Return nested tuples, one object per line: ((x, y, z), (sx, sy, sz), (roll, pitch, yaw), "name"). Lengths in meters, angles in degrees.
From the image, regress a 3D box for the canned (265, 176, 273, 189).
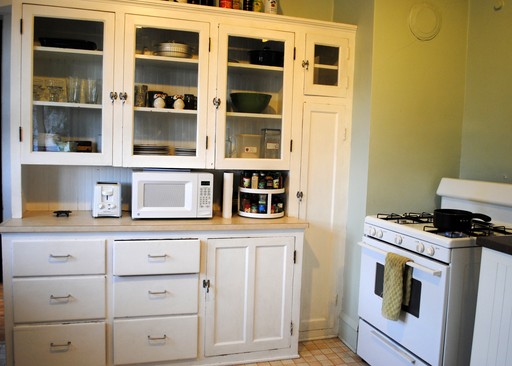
((0.114, -0.010, 3.687), (0.081, 0.159, 0.084), (1, 8, 0), "canned")

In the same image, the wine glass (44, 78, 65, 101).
((-1.555, -0.718, 3.418), (0.152, 0.188, 0.161), (2, -1, -2), "wine glass")

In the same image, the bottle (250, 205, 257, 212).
((-0.018, 0.204, 3.682), (0.056, 0.066, 0.057), (0, 2, -11), "bottle")

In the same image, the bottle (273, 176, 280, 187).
((0.180, -0.022, 3.711), (0.070, 0.117, 0.019), (-3, 6, -22), "bottle")

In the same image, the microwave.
((-0.687, 0.103, 3.576), (0.664, 0.431, 0.364), (0, 1, -11), "microwave")

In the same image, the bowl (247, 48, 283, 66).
((0.092, -1.045, 3.650), (0.176, 0.086, 0.200), (8, 17, 19), "bowl")

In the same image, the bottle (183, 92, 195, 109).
((-0.543, -0.672, 3.585), (0.125, 0.125, 0.068), (-4, 6, -44), "bottle")

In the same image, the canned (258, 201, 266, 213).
((0.056, 0.202, 3.731), (0.067, 0.128, 0.073), (0, 1, 3), "canned")

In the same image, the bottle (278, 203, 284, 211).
((0.218, 0.197, 3.751), (0.022, 0.080, 0.091), (2, 6, 24), "bottle")

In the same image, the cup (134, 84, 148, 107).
((-0.924, -0.707, 3.520), (0.122, 0.153, 0.148), (1, -1, 2), "cup")

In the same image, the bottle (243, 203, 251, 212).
((-0.066, 0.207, 3.692), (0.080, 0.099, 0.052), (1, -4, -6), "bottle")

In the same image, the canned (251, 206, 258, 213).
((-0.010, 0.215, 3.680), (0.047, 0.053, 0.048), (0, 3, -12), "canned")

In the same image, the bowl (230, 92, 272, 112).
((-0.054, -0.672, 3.651), (0.204, 0.090, 0.210), (0, -2, 0), "bowl")

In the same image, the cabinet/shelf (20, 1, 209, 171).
((-1.143, -0.796, 3.450), (1.306, 1.136, 0.431), (0, 1, -13), "cabinet/shelf")

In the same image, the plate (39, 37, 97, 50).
((-1.454, -1.077, 3.389), (0.282, 0.062, 0.141), (-2, 8, -29), "plate")

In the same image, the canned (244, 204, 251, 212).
((-0.065, 0.206, 3.691), (0.053, 0.069, 0.038), (3, 9, 5), "canned")

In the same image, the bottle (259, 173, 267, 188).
((0.055, -0.024, 3.690), (0.060, 0.127, 0.045), (0, 6, 0), "bottle")

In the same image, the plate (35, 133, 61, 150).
((-1.617, -0.326, 3.408), (0.137, 0.135, 0.033), (-2, 1, -16), "plate")
